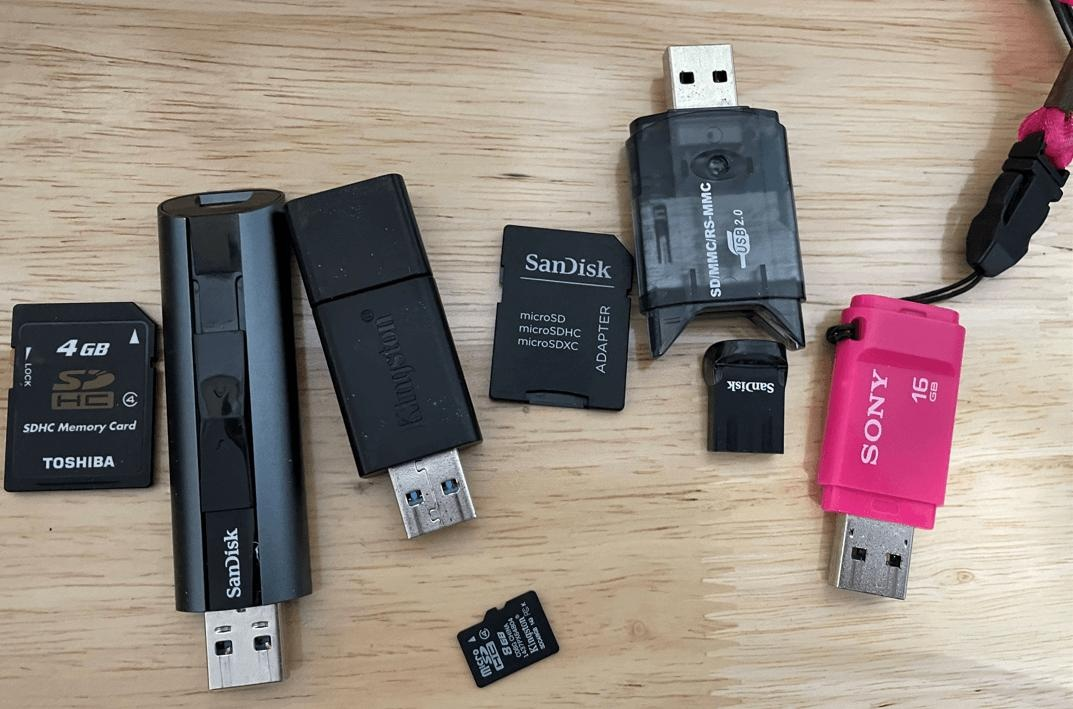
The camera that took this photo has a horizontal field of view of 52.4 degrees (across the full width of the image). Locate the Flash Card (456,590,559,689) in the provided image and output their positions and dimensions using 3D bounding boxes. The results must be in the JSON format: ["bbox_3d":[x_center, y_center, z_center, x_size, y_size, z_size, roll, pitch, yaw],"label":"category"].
[{"bbox_3d":[-0.072,0.767,2.914,0.336,0.046,0.168,-19,83,-3],"label":"Flash Card"}]
